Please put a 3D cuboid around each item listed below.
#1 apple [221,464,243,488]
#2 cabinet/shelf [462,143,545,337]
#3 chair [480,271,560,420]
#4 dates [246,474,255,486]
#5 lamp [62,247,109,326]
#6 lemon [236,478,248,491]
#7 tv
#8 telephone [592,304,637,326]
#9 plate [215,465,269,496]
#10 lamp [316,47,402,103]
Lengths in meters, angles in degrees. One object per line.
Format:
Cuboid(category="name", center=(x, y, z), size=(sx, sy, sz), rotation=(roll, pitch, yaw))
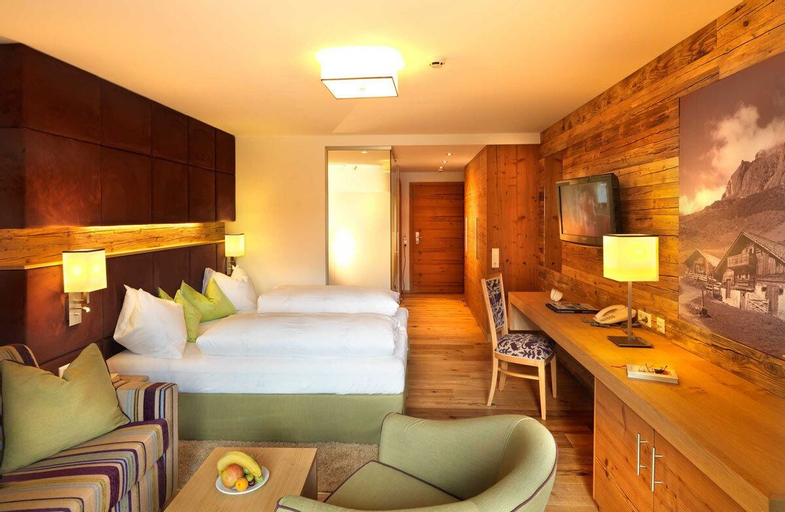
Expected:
Cuboid(category="apple", center=(-0.977, 1.327, 3.102), size=(0.124, 0.122, 0.120), rotation=(-6, -16, -2))
Cuboid(category="cabinet/shelf", center=(1.434, -0.231, 6.467), size=(0.734, 2.160, 2.440), rotation=(1, 6, 4))
Cuboid(category="chair", center=(1.227, 0.831, 4.943), size=(0.735, 1.178, 0.648), rotation=(5, 9, 21))
Cuboid(category="dates", center=(-0.867, 1.365, 3.130), size=(0.046, 0.057, 0.023), rotation=(4, 4, 11))
Cuboid(category="lamp", center=(-2.462, 0.251, 4.094), size=(0.260, 0.625, 0.294), rotation=(10, 11, 38))
Cuboid(category="lemon", center=(-0.911, 1.373, 3.084), size=(0.051, 0.054, 0.062), rotation=(25, 6, 8))
Cuboid(category="tv", center=(1.788, -0.421, 4.881), size=(0.986, 0.666, 0.133), rotation=(-7, 3, -40))
Cuboid(category="telephone", center=(1.820, 0.490, 4.235), size=(0.262, 0.058, 0.189), rotation=(-13, 11, -25))
Cuboid(category="plate", center=(-0.877, 1.354, 3.112), size=(0.163, 0.022, 0.167), rotation=(9, 10, 39))
Cuboid(category="lamp", center=(-0.263, -1.489, 4.155), size=(0.677, 0.292, 0.520), rotation=(3, 8, 0))
